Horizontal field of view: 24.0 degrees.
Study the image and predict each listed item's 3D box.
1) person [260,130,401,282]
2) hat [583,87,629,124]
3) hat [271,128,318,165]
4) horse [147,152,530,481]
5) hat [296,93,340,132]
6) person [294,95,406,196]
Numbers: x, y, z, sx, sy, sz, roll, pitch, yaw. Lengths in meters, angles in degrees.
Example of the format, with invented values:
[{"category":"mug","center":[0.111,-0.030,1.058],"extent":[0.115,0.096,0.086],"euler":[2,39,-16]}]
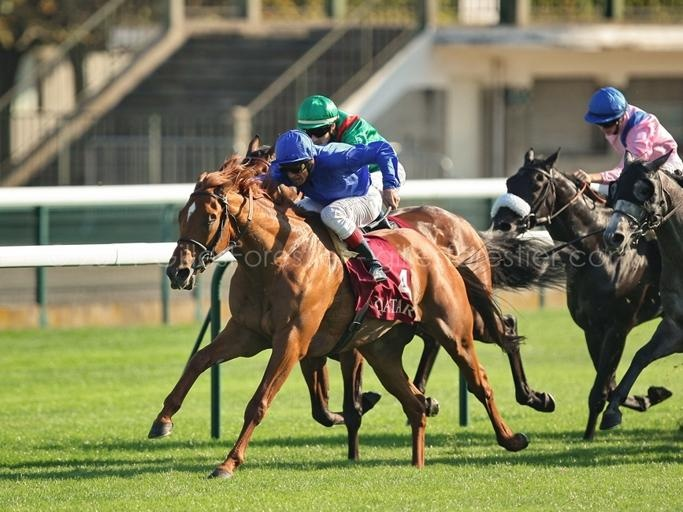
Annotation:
[{"category":"person","center":[-0.122,-0.384,12.267],"extent":[1.049,1.158,0.753],"euler":[4,6,10]},{"category":"hat","center":[2.177,-1.223,13.222],"extent":[0.330,0.207,0.253],"euler":[-33,40,-14]},{"category":"hat","center":[-0.379,-0.803,11.870],"extent":[0.200,0.173,0.293],"euler":[-2,8,21]},{"category":"horse","center":[0.028,0.490,12.343],"extent":[3.228,2.047,0.787],"euler":[4,-7,-36]},{"category":"hat","center":[-0.171,-1.136,12.405],"extent":[0.220,0.167,0.301],"euler":[6,28,29]},{"category":"person","center":[0.049,-0.919,12.560],"extent":[0.567,0.356,0.867],"euler":[10,-9,38]}]
